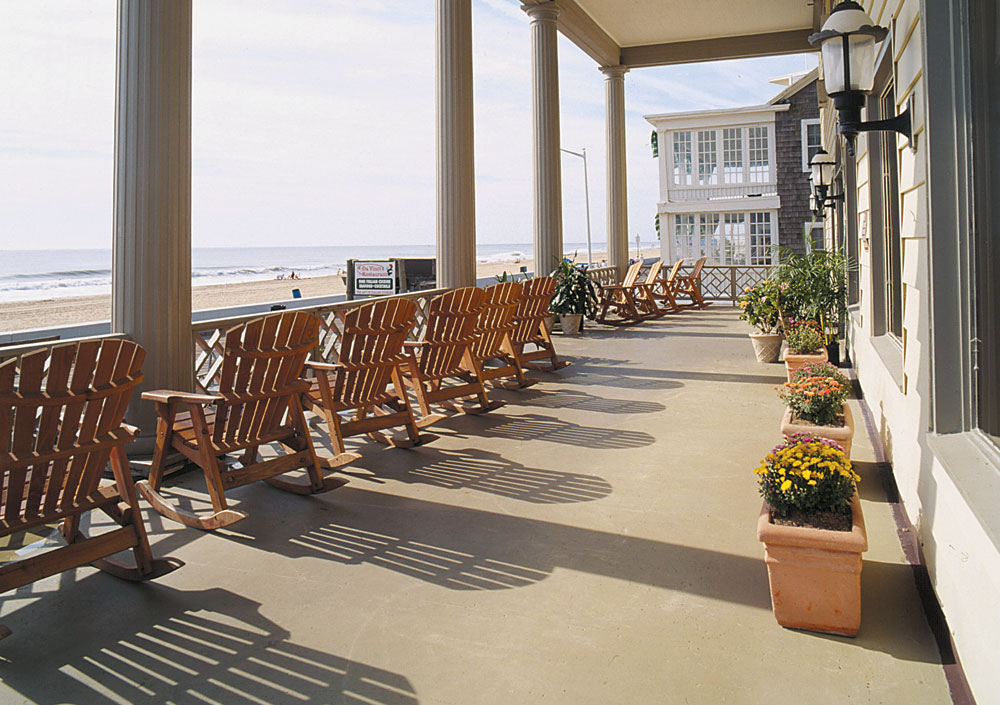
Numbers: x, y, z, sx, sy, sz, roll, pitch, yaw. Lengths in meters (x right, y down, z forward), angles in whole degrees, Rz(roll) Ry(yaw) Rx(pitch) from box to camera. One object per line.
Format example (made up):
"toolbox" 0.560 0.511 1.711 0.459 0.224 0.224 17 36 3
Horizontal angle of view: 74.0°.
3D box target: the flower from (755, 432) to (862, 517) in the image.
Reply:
"flower" 1.311 0.529 2.900 0.352 0.251 0.346 -28 22 -13

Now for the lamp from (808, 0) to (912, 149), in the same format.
"lamp" 1.709 -1.336 3.141 0.458 0.694 0.272 3 14 21

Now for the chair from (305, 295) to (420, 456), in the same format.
"chair" -1.084 0.093 5.213 1.221 1.218 0.848 3 7 44

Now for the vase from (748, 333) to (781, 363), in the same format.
"vase" 3.213 -0.063 8.050 0.369 0.283 0.370 0 3 12

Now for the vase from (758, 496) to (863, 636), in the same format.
"vase" 1.370 1.039 2.908 0.385 0.407 0.562 -1 -20 25

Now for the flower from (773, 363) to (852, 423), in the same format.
"flower" 1.998 0.282 4.237 0.403 0.271 0.396 -1 10 -8

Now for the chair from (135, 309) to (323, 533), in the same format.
"chair" -1.559 0.337 4.296 1.244 1.431 1.194 6 7 32
